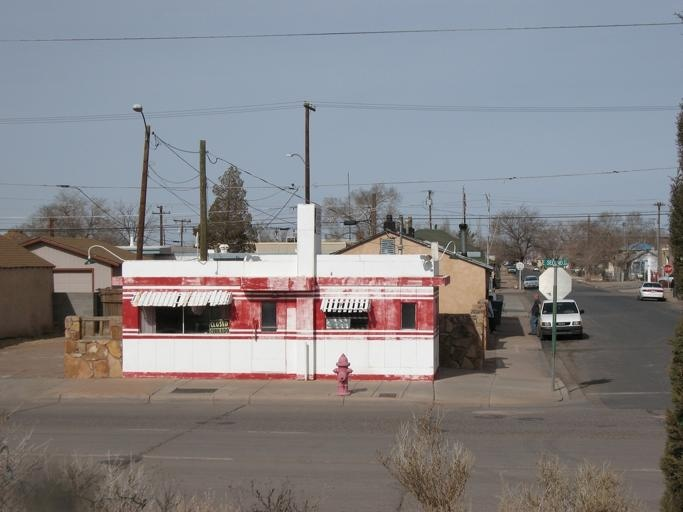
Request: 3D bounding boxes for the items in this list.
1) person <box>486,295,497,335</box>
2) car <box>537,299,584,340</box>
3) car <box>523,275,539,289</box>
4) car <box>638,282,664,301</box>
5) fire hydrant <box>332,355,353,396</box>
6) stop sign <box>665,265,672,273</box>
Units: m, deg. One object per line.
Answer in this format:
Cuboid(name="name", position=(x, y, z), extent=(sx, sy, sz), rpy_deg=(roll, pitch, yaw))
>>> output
Cuboid(name="person", position=(6.964, 2.772, 57.875), extent=(0.642, 1.227, 1.238), rpy_deg=(-4, -47, 2))
Cuboid(name="car", position=(9.811, 2.825, 55.807), extent=(1.913, 1.717, 2.256), rpy_deg=(-2, -2, 9))
Cuboid(name="car", position=(16.055, 2.220, 105.559), extent=(1.043, 1.009, 2.365), rpy_deg=(1, 6, 6))
Cuboid(name="car", position=(20.694, 2.343, 83.093), extent=(1.871, 1.183, 1.669), rpy_deg=(-3, -2, 31))
Cuboid(name="fire hydrant", position=(0.082, 4.098, 43.639), extent=(0.579, 1.401, 1.725), rpy_deg=(-1, -2, 0))
Cuboid(name="stop sign", position=(24.516, 0.961, 93.385), extent=(0.452, 0.523, 0.068), rpy_deg=(1, 6, 1))
